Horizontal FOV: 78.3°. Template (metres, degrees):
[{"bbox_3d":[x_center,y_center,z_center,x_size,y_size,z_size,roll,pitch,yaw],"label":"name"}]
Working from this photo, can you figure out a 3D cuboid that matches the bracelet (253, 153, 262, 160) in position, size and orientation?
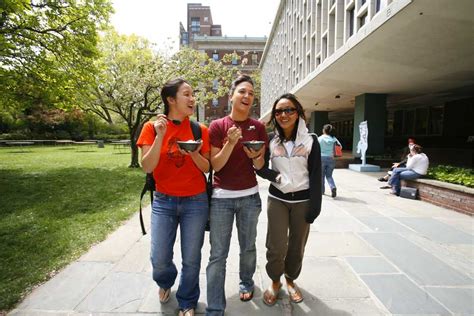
[{"bbox_3d":[0.310,-0.017,4.623,0.125,0.077,0.077,1,8,3],"label":"bracelet"}]

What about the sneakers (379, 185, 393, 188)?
[{"bbox_3d":[5.249,1.003,10.262,0.400,0.108,0.144,1,-3,2],"label":"sneakers"}]

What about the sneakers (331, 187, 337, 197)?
[{"bbox_3d":[3.052,1.076,9.177,0.119,0.340,0.159,-5,-8,19],"label":"sneakers"}]

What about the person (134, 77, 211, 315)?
[{"bbox_3d":[-0.981,0.606,4.679,1.080,3.776,0.741,0,8,2],"label":"person"}]

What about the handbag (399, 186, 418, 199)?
[{"bbox_3d":[5.526,1.148,9.409,0.291,0.517,0.681,16,-13,-28],"label":"handbag"}]

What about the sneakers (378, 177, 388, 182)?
[{"bbox_3d":[5.682,0.813,11.245,0.543,0.164,0.196,4,-4,-28],"label":"sneakers"}]

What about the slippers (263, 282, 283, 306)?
[{"bbox_3d":[0.618,2.263,5.005,0.215,0.169,0.576,11,24,27],"label":"slippers"}]

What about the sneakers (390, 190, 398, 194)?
[{"bbox_3d":[5.281,1.174,9.789,0.076,0.094,0.200,0,-4,-22],"label":"sneakers"}]

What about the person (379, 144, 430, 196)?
[{"bbox_3d":[5.651,0.419,9.818,1.297,1.732,0.662,8,3,35],"label":"person"}]

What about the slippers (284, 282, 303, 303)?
[{"bbox_3d":[0.977,2.266,5.047,0.215,0.152,0.568,-5,13,-5],"label":"slippers"}]

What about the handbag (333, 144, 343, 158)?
[{"bbox_3d":[3.248,-0.244,9.380,0.222,0.434,0.616,3,9,21],"label":"handbag"}]

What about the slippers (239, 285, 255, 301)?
[{"bbox_3d":[0.159,2.280,4.929,0.240,0.153,0.427,-1,-3,4],"label":"slippers"}]

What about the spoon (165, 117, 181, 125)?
[{"bbox_3d":[-1.063,-0.604,4.665,0.338,0.086,0.087,18,21,29],"label":"spoon"}]

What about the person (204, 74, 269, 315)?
[{"bbox_3d":[-0.030,0.591,4.700,1.104,3.853,0.724,-2,9,-16],"label":"person"}]
